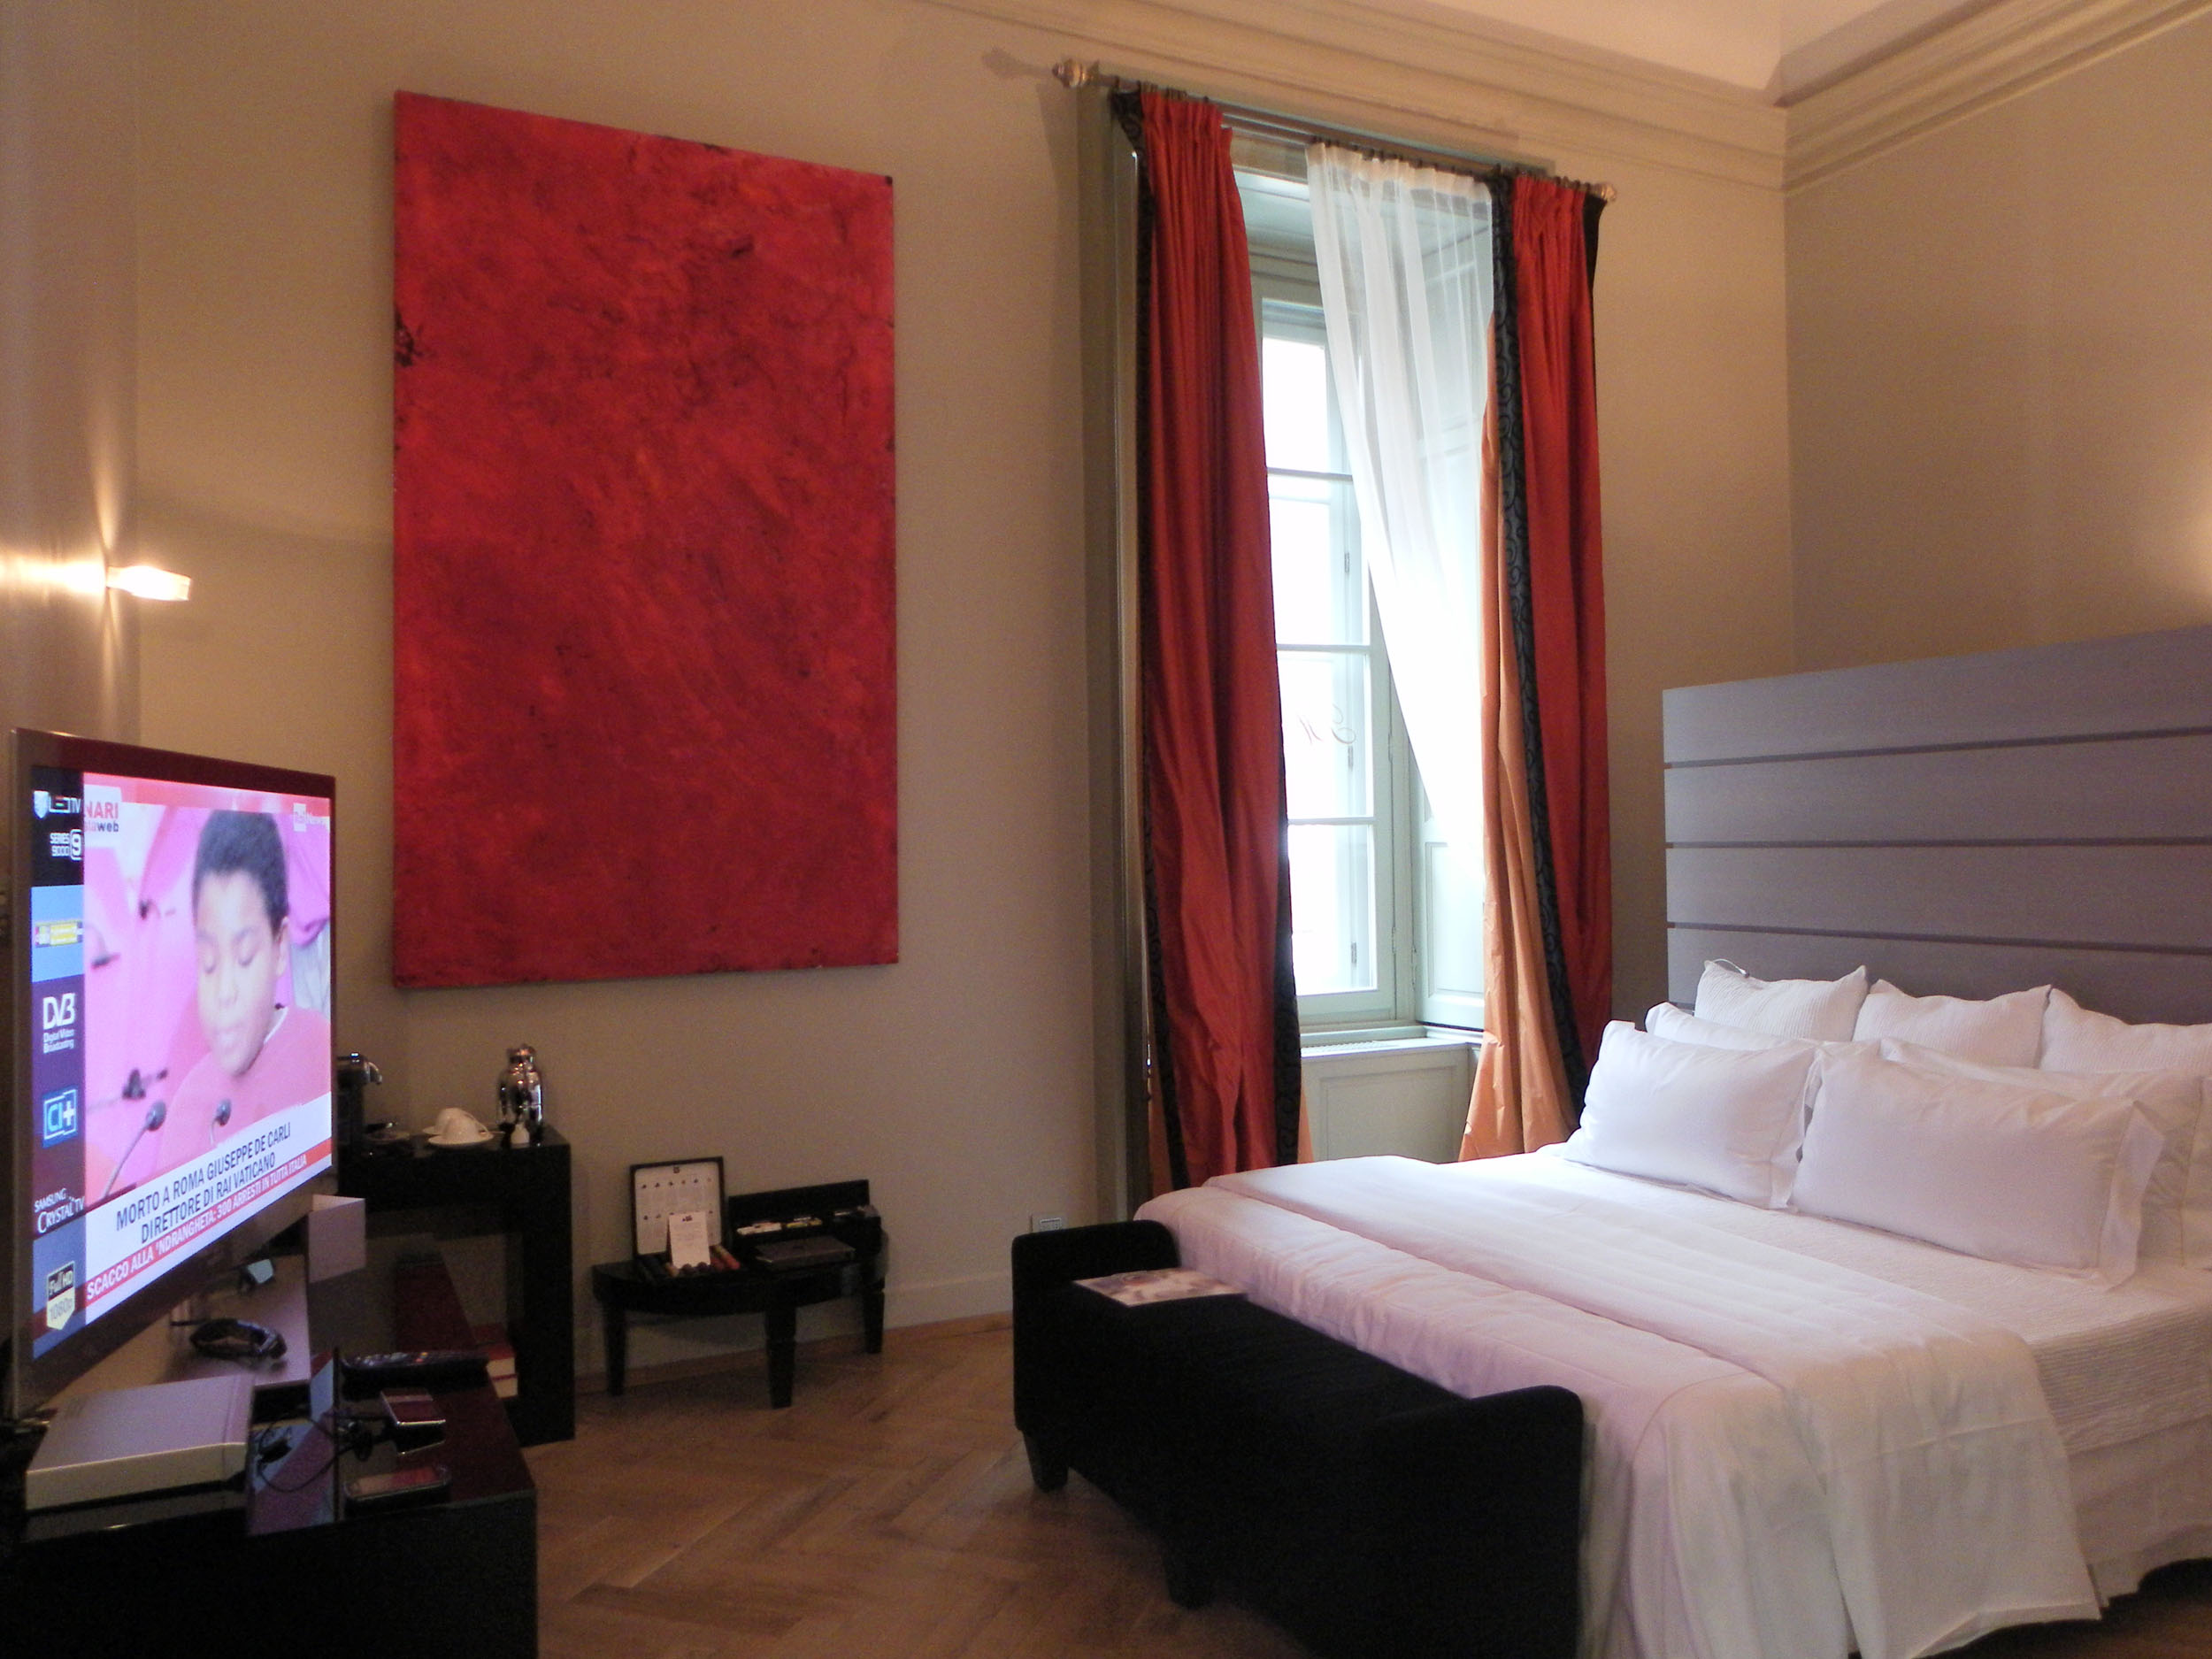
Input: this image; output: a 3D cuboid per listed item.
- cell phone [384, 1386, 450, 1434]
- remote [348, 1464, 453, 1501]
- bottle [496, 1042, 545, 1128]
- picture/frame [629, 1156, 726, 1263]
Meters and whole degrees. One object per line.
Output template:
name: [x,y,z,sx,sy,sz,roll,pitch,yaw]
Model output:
cell phone: [-1.143,0.962,2.735,0.059,0.018,0.062,0,26,-22]
remote: [-1.080,0.999,2.533,0.104,0.027,0.058,-1,2,-23]
bottle: [-1.509,0.664,4.261,0.116,0.225,0.296,-3,10,-20]
picture/frame: [-1.168,1.032,4.467,0.241,0.272,0.033,2,-7,-24]
